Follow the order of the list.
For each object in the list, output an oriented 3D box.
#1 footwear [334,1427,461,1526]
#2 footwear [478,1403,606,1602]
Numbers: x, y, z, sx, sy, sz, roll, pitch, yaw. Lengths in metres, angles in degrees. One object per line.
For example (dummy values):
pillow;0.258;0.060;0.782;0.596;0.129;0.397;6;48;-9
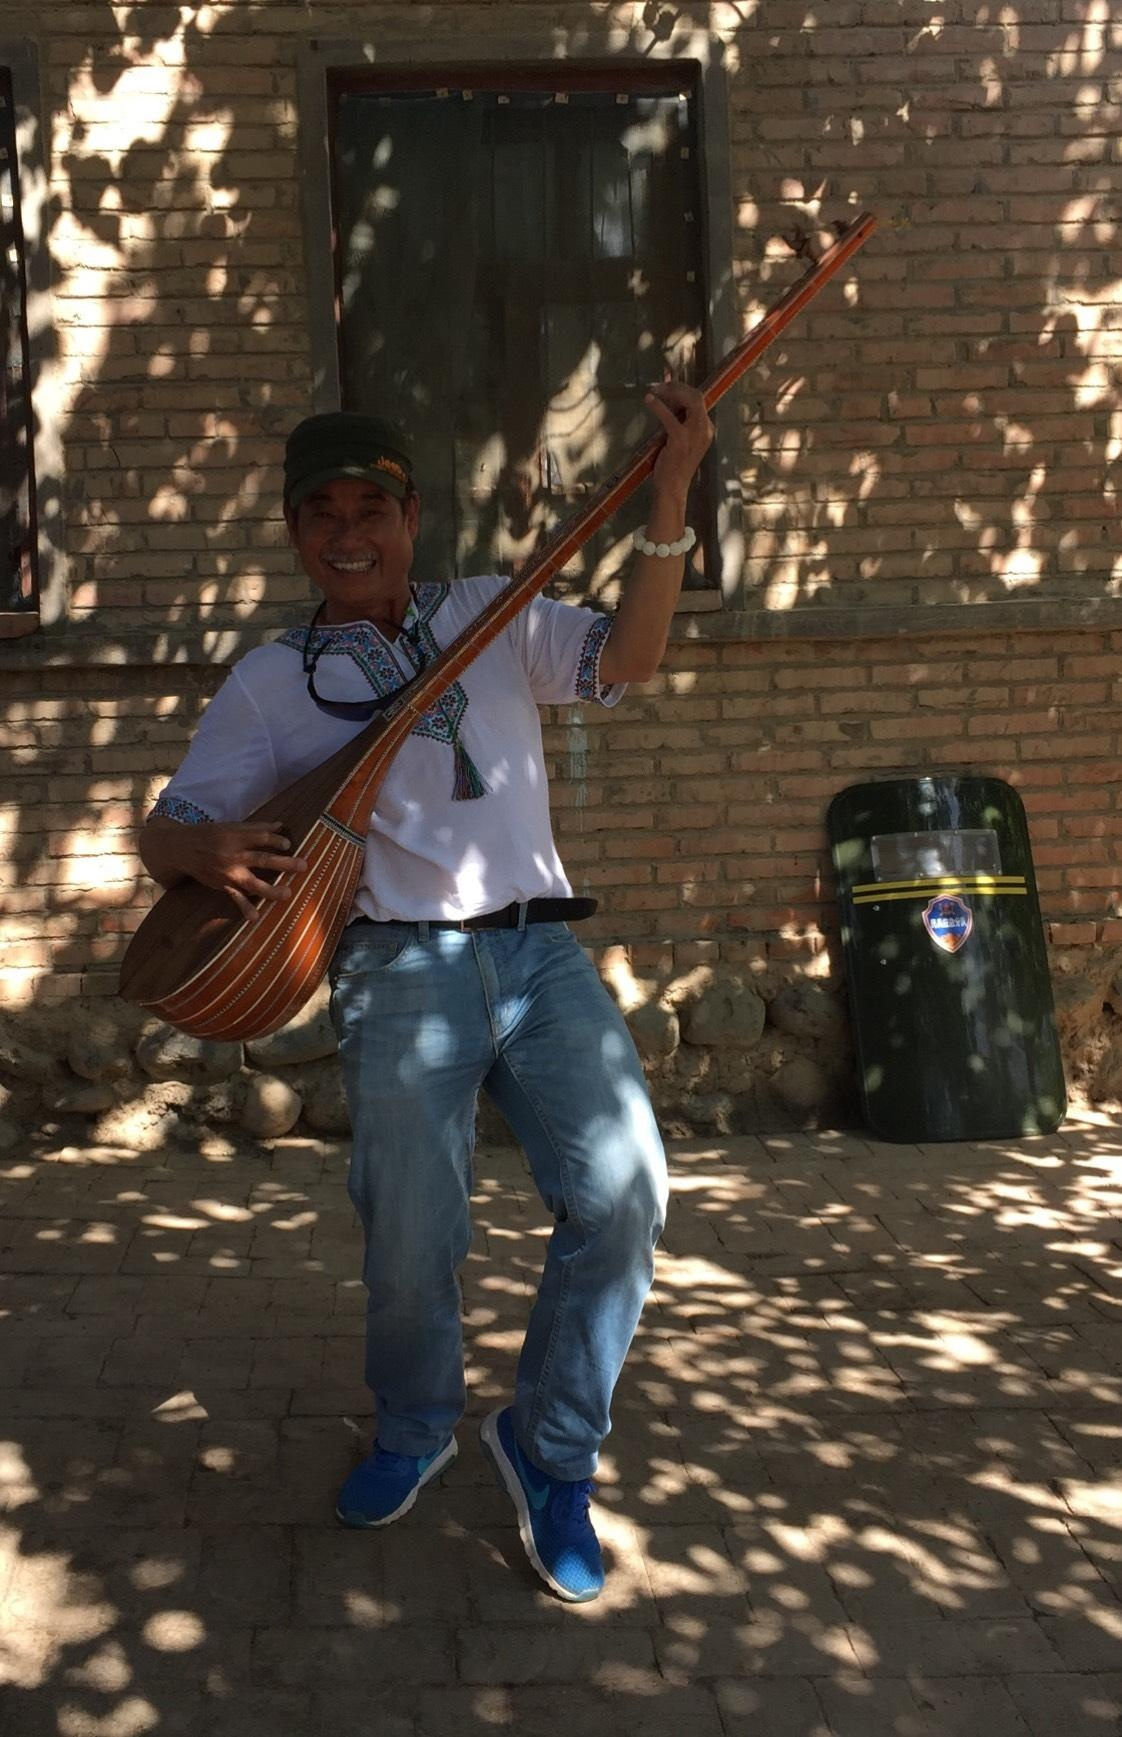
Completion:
footwear;-0.300;1.118;2.764;0.092;0.093;0.231;10;27;30
footwear;-0.022;1.078;2.606;0.119;0.148;0.345;6;44;-57
